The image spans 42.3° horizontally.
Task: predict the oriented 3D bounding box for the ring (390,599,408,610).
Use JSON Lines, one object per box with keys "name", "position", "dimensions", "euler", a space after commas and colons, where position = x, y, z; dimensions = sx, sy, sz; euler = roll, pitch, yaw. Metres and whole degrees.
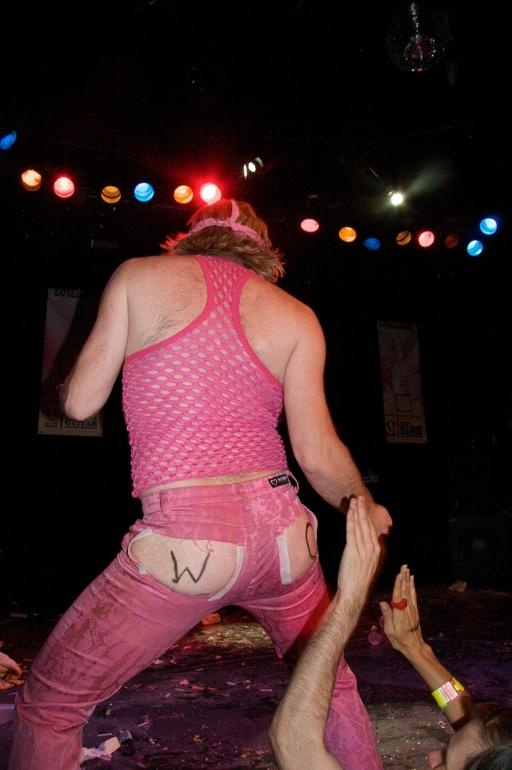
{"name": "ring", "position": [0.331, 0.505, 1.521], "dimensions": [0.047, 0.027, 0.018], "euler": [-9, 2, 13]}
